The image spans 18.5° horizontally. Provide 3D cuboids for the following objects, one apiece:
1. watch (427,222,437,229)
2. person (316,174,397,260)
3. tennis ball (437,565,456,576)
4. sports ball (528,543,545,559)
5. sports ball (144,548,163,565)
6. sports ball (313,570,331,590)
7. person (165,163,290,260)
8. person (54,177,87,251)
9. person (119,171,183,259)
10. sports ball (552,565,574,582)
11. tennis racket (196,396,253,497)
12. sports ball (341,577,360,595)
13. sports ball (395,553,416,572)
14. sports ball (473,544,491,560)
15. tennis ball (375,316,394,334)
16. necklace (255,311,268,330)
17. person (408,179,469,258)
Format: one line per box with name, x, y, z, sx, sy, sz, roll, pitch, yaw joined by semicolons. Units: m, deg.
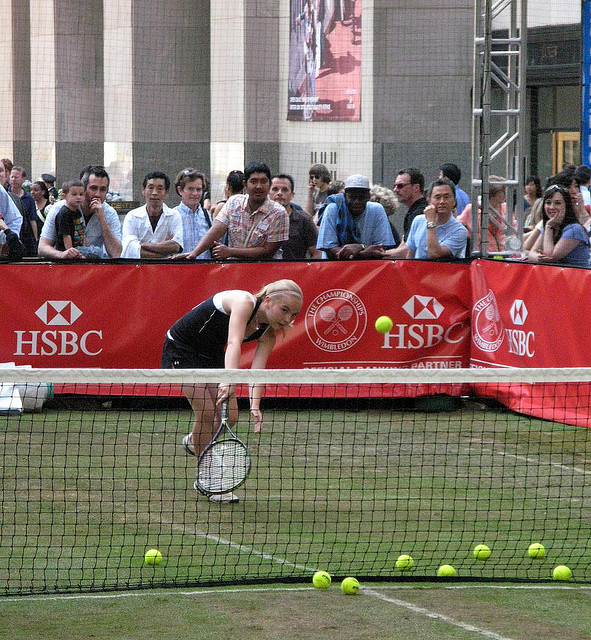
watch;1.383;-0.942;18.256;0.070;0.054;0.079;1;-2;16
person;0.613;-1.047;18.495;0.760;0.881;0.700;1;12;0
tennis ball;1.091;1.765;12.947;0.087;0.073;0.068;-3;0;-10
sports ball;1.787;1.662;13.355;0.110;0.103;0.099;-7;15;17
sports ball;-1.027;1.683;13.100;0.093;0.097;0.094;12;19;-4
sports ball;0.190;1.805;12.752;0.120;0.089;0.166;7;13;26
person;-0.497;-1.099;18.110;0.778;1.006;0.615;9;14;34
person;-2.281;-1.052;18.296;0.338;0.740;0.546;-1;12;-7
person;-1.483;-1.053;18.338;0.626;0.911;0.539;1;2;-35
sports ball;1.925;1.784;12.978;0.152;0.083;0.193;3;12;9
tennis racket;-0.559;0.938;14.421;0.456;0.072;1.090;-4;42;6
sports ball;0.387;1.830;12.637;0.104;0.112;0.107;3;18;-1
sports ball;0.802;1.734;13.112;0.111;0.118;0.114;-4;27;2
sports ball;1.374;1.682;13.283;0.118;0.096;0.128;1;12;0
tennis ball;0.879;0.017;17.807;0.146;0.155;0.155;8;-23;3
necklace;-0.276;-0.008;14.277;0.103;0.107;0.026;2;-25;-32
person;1.464;-1.013;18.442;0.610;0.853;0.653;2;12;4
